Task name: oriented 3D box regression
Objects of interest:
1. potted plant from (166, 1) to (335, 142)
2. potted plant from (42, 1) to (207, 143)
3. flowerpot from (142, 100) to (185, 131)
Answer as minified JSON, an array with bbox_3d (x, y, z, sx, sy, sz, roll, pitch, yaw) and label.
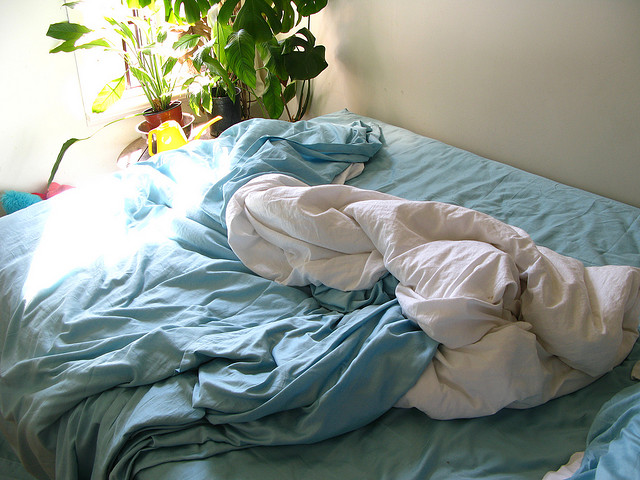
[{"bbox_3d":[-0.403,-0.968,2.692,0.662,0.699,0.706,14,50,12],"label":"potted plant"},{"bbox_3d":[-1.096,-0.941,2.794,0.793,0.736,0.837,-11,53,-12],"label":"potted plant"},{"bbox_3d":[-0.871,-0.699,2.709,0.181,0.133,0.185,-33,25,-12],"label":"flowerpot"}]
